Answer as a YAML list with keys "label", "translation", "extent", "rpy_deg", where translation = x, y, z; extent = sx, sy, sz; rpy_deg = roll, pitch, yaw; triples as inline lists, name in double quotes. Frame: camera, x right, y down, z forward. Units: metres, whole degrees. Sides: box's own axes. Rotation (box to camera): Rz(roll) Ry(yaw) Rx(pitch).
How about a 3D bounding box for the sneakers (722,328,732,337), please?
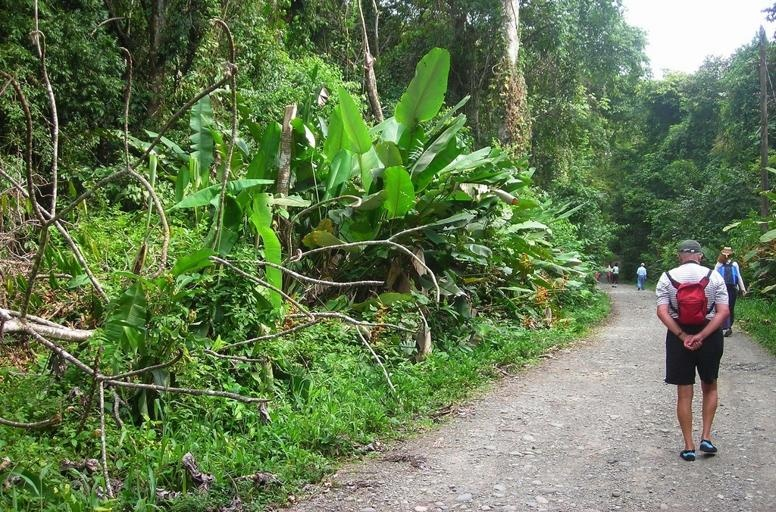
- label: "sneakers"
  translation: [6.697, 1.520, 13.617]
  extent: [0.119, 0.138, 0.318]
  rpy_deg: [-2, -4, 4]

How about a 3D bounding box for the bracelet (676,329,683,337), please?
- label: "bracelet"
  translation: [3.396, 0.896, 8.032]
  extent: [0.067, 0.066, 0.019]
  rpy_deg: [9, -17, 26]

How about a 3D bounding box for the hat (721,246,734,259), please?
- label: "hat"
  translation: [6.478, -0.045, 13.229]
  extent: [0.236, 0.142, 0.287]
  rpy_deg: [7, 16, 33]

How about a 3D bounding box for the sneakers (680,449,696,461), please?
- label: "sneakers"
  translation: [3.392, 2.256, 7.801]
  extent: [0.159, 0.119, 0.092]
  rpy_deg: [-1, 3, 19]

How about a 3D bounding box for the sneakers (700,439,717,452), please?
- label: "sneakers"
  translation: [3.661, 2.189, 7.904]
  extent: [0.089, 0.097, 0.227]
  rpy_deg: [-7, -17, 42]

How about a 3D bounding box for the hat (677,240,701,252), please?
- label: "hat"
  translation: [3.682, -0.122, 8.413]
  extent: [0.294, 0.203, 0.405]
  rpy_deg: [3, 6, 21]
